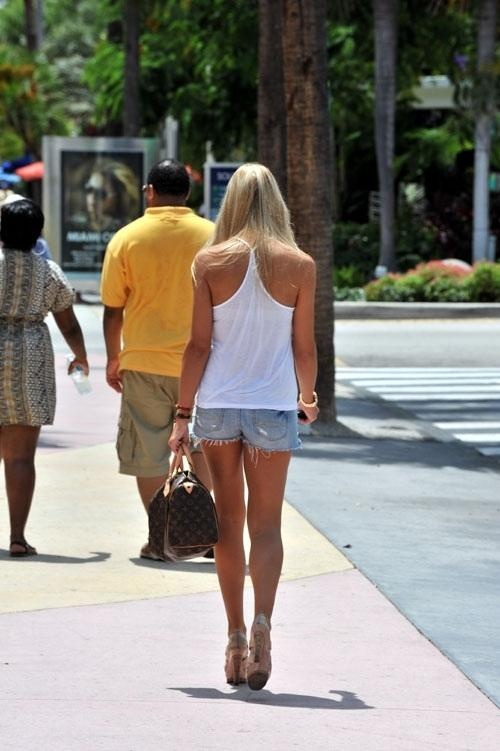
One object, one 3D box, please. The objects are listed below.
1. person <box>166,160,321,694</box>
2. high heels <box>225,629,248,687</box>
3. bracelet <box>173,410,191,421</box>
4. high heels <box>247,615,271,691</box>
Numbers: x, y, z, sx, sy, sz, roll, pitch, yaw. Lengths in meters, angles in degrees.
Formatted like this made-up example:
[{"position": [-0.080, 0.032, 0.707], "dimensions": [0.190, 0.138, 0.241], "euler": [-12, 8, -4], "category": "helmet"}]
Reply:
[{"position": [0.020, 0.143, 4.240], "dimensions": [0.491, 1.663, 0.665], "euler": [0, 4, -12], "category": "person"}, {"position": [-0.040, 0.886, 4.184], "dimensions": [0.054, 0.086, 0.181], "euler": [0, -26, -2], "category": "high heels"}, {"position": [-0.222, 0.131, 4.430], "dimensions": [0.046, 0.035, 0.037], "euler": [30, -8, -27], "category": "bracelet"}, {"position": [0.033, 0.837, 4.011], "dimensions": [0.065, 0.221, 0.139], "euler": [3, -7, 4], "category": "high heels"}]
